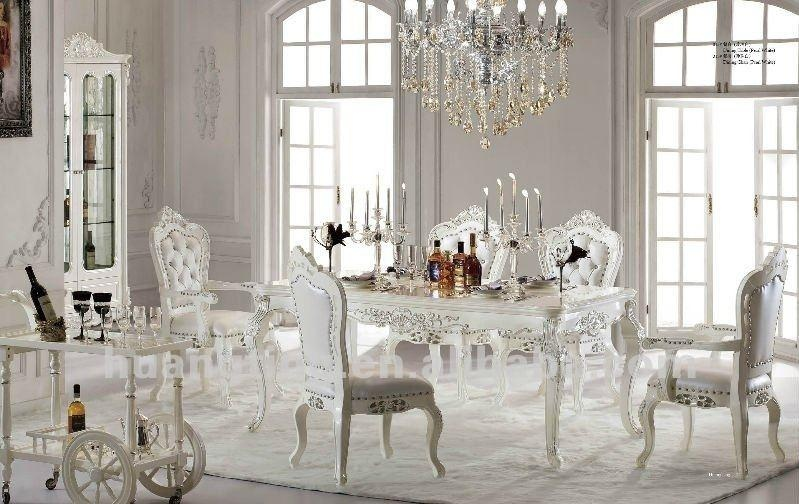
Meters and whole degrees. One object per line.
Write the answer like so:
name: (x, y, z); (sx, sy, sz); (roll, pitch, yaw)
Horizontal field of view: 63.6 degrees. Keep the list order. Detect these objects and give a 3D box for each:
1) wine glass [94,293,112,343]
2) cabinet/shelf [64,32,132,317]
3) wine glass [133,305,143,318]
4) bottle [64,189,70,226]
wine glass: (-1.831, 0.388, 3.972); (0.097, 0.258, 0.257); (-4, 9, -26)
cabinet/shelf: (-3.562, -0.997, 7.549); (0.794, 3.101, 0.382); (-4, 9, -25)
wine glass: (-1.624, 0.360, 4.013); (0.077, 0.076, 0.078); (1, 4, -9)
bottle: (-3.807, -0.520, 7.373); (0.066, 0.429, 0.062); (0, 8, 0)
